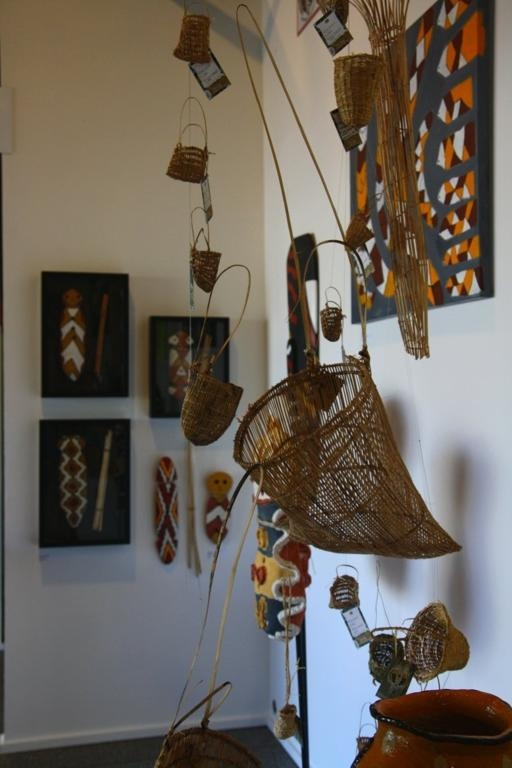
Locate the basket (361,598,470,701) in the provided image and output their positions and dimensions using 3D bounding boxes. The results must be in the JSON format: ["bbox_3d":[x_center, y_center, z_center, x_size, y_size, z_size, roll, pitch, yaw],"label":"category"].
[{"bbox_3d":[0.346,0.540,1.743,0.199,0.225,0.144,-3,-9,42],"label":"basket"}]

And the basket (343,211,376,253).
[{"bbox_3d":[0.233,-0.343,1.890,0.064,0.080,0.073,-1,-2,-21],"label":"basket"}]

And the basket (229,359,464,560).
[{"bbox_3d":[0.166,0.142,1.682,0.419,0.402,0.276,-2,-2,-3],"label":"basket"}]

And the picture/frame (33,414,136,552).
[{"bbox_3d":[-0.653,0.390,3.246,0.349,0.568,0.049,6,-41,-18],"label":"picture/frame"}]

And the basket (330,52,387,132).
[{"bbox_3d":[0.192,-0.563,1.600,0.095,0.170,0.112,1,5,3],"label":"basket"}]
